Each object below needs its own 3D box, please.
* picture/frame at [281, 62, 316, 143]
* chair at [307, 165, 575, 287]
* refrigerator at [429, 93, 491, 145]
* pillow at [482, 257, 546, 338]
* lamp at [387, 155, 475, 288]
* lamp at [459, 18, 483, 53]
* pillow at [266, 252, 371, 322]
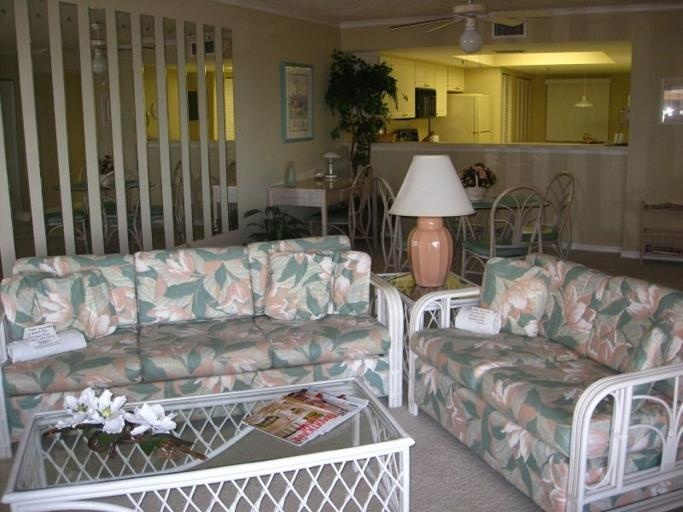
[{"bbox_3d":[-0.590,-2.033,7.056,0.078,1.203,1.059,6,10,28],"label":"picture/frame"},{"bbox_3d":[0.994,-0.285,4.944,1.197,0.598,1.183,-17,23,-39],"label":"chair"},{"bbox_3d":[2.287,-2.602,10.140,1.177,0.917,0.622,-1,11,2],"label":"refrigerator"},{"bbox_3d":[0.948,0.236,2.996,0.379,0.390,0.180,1,-9,30],"label":"pillow"},{"bbox_3d":[0.624,-0.223,3.725,0.574,0.853,0.564,-3,6,-13],"label":"lamp"},{"bbox_3d":[1.159,-1.971,4.816,0.233,0.324,0.239,7,39,22],"label":"lamp"},{"bbox_3d":[-0.152,0.180,3.422,0.626,0.434,0.188,-2,3,-7],"label":"pillow"}]
